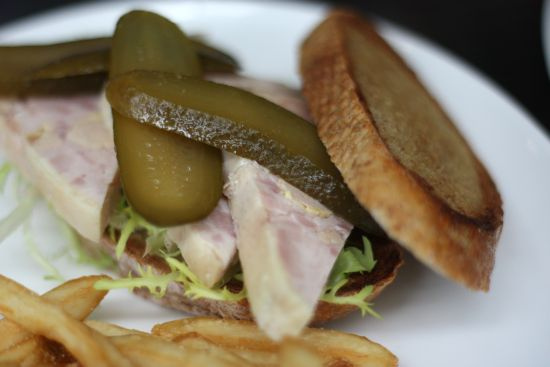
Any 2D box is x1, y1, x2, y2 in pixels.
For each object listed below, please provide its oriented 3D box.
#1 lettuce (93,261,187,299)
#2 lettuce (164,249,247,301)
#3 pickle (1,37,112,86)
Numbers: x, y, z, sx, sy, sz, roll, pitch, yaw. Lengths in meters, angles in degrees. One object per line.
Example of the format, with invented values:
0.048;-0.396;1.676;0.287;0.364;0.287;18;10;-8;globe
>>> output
-0.696;0.513;3.163;0.307;0.388;0.217;-1;97;14;lettuce
-0.357;0.508;3.095;0.295;0.282;0.078;29;97;31;lettuce
-1.224;-0.681;3.276;0.559;0.069;0.255;-9;74;-3;pickle
